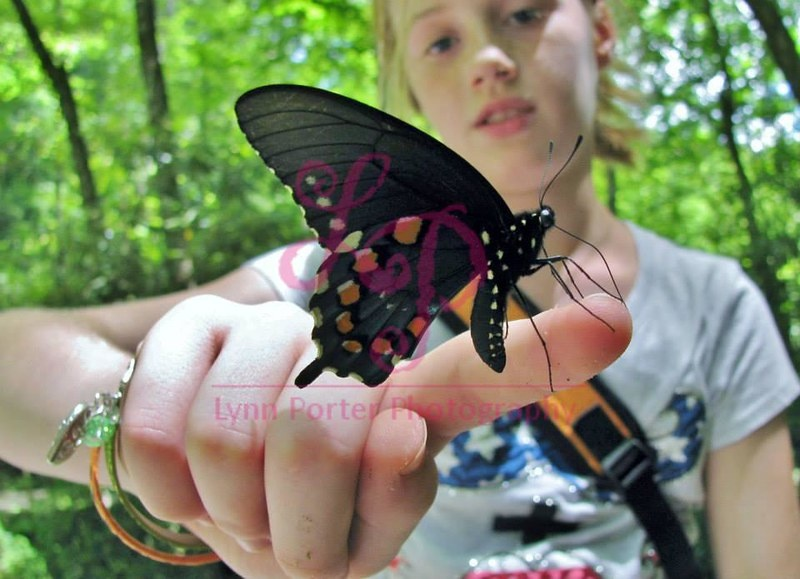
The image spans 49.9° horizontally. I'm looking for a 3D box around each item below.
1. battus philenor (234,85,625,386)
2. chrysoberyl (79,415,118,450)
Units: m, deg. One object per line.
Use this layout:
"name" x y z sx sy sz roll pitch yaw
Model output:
"battus philenor" 0.003 -0.186 1.651 0.593 0.596 0.301 19 15 -37
"chrysoberyl" -0.596 0.284 1.686 0.110 0.070 0.022 -7 18 22
